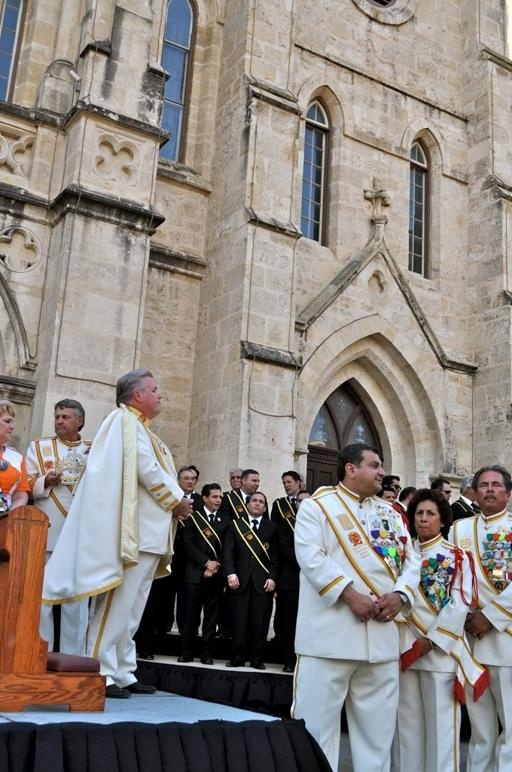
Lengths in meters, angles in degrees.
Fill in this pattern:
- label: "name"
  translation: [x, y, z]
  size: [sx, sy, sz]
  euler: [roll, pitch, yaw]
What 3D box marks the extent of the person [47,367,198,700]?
- label: "person"
  translation: [-0.707, 0.752, 4.730]
  size: [0.492, 1.770, 0.595]
  euler: [-8, -20, 43]
